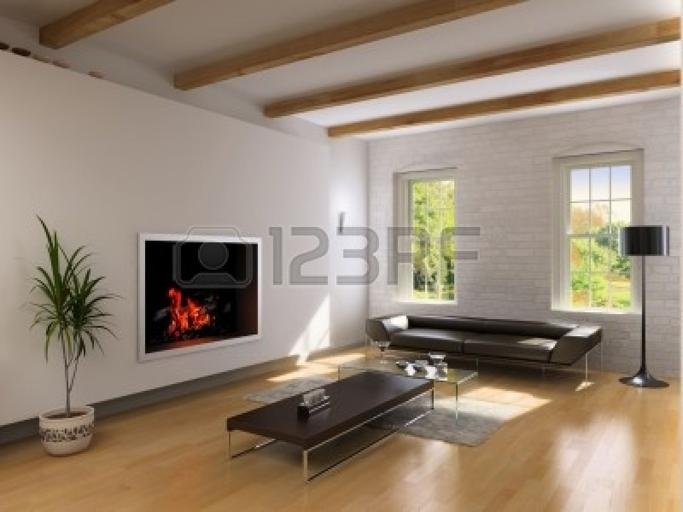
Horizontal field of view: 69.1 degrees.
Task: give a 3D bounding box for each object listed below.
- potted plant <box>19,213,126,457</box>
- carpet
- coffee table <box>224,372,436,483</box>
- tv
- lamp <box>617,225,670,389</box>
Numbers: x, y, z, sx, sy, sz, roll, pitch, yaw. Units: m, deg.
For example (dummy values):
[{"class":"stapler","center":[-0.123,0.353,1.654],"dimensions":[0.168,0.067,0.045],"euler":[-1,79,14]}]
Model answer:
[{"class":"potted plant","center":[-2.386,0.650,4.476],"dimensions":[0.715,2.007,0.980],"euler":[-3,6,-22]},{"class":"carpet","center":[-0.004,1.461,5.013],"dimensions":[1.594,0.058,1.705],"euler":[-16,-2,-18]},{"class":"coffee table","center":[-0.019,1.391,4.380],"dimensions":[0.733,0.512,1.693],"euler":[4,7,42]},{"class":"tv","center":[-1.632,0.431,5.831],"dimensions":[1.591,1.166,0.456],"euler":[-1,-1,-44]},{"class":"lamp","center":[3.647,0.588,6.002],"dimensions":[0.571,1.898,0.848],"euler":[2,6,24]}]
